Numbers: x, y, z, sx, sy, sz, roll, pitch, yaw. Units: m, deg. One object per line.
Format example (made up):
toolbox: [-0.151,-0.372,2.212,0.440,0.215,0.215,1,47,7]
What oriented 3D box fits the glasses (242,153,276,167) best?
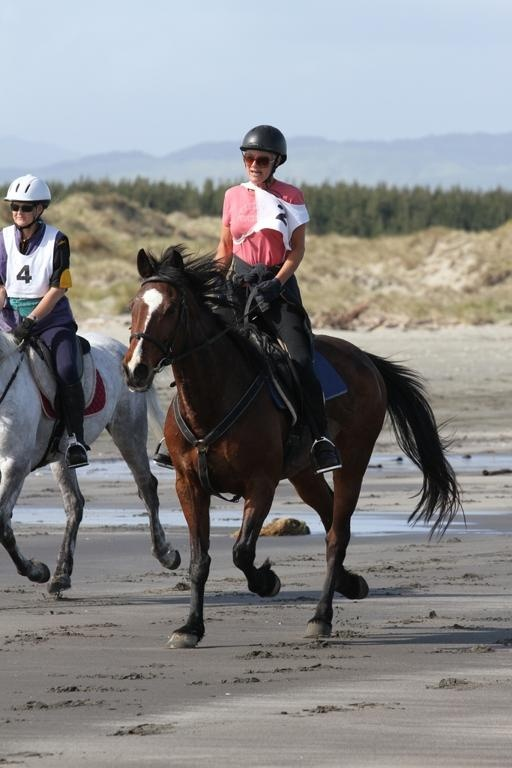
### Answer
glasses: [0.016,-1.368,7.171,0.129,0.118,0.045,7,27,14]

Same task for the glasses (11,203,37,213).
glasses: [-1.745,-1.306,8.729,0.190,0.078,0.186,1,15,-10]

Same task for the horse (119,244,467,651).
horse: [0.284,0.537,7.122,0.824,2.241,3.553,-2,-2,35]

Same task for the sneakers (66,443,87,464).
sneakers: [-1.336,0.552,8.669,0.144,0.164,0.176,-1,29,-9]

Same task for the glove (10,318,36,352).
glove: [-1.700,-0.348,8.557,0.141,0.091,0.221,1,55,26]

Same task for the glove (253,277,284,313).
glove: [0.070,-0.512,6.878,0.068,0.192,0.150,21,1,-39]

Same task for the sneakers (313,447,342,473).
sneakers: [0.409,0.460,6.887,0.127,0.160,0.168,-14,-12,-5]

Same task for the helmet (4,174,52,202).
helmet: [-1.694,-1.425,8.614,0.301,0.217,0.461,2,15,-7]
